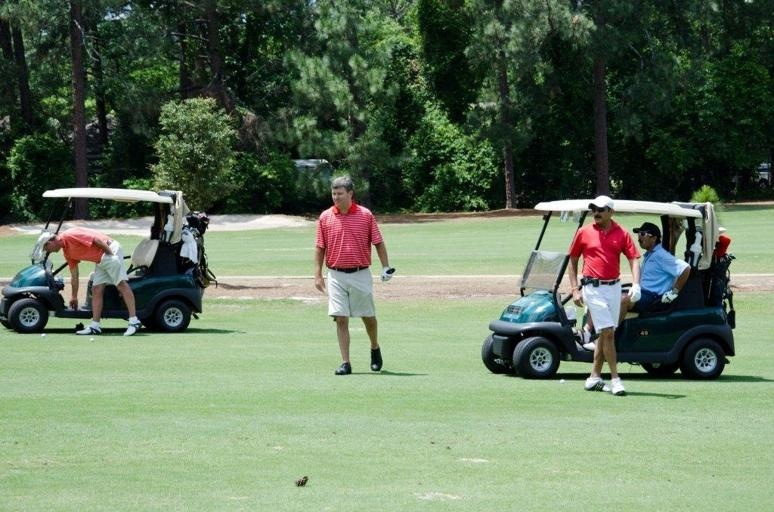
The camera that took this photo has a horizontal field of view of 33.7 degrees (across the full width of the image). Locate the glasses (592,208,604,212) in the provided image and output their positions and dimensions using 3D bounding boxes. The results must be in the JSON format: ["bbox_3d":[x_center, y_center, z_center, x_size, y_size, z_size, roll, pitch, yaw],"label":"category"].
[{"bbox_3d":[3.647,-0.790,21.864,0.242,0.079,0.079,1,4,29],"label":"glasses"}]

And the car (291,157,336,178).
[{"bbox_3d":[-3.619,-4.552,65.552,1.983,0.909,2.540,-1,4,-3],"label":"car"}]

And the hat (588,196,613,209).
[{"bbox_3d":[3.710,-0.912,22.028,0.409,0.207,0.466,0,4,11],"label":"hat"}]

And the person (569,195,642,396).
[{"bbox_3d":[3.734,0.685,21.906,1.180,3.360,0.528,0,3,8],"label":"person"}]

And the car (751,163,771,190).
[{"bbox_3d":[20.419,-4.312,69.711,1.596,1.495,1.204,3,9,11],"label":"car"}]

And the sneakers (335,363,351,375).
[{"bbox_3d":[-0.760,1.982,22.681,0.290,0.233,0.369,0,4,5],"label":"sneakers"}]

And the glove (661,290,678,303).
[{"bbox_3d":[4.999,0.717,22.574,0.278,0.170,0.109,-41,-28,10],"label":"glove"}]

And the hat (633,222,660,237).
[{"bbox_3d":[4.651,-0.464,22.804,0.412,0.188,0.265,5,-4,-10],"label":"hat"}]

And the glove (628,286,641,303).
[{"bbox_3d":[4.299,0.672,21.967,0.116,0.292,0.205,1,5,-37],"label":"glove"}]

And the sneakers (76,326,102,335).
[{"bbox_3d":[-5.926,1.489,25.545,0.512,0.206,0.185,4,0,0],"label":"sneakers"}]

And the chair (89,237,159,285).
[{"bbox_3d":[-5.322,0.146,25.861,1.209,0.926,0.773,2,2,-27],"label":"chair"}]

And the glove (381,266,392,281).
[{"bbox_3d":[-0.006,0.325,22.363,0.105,0.227,0.163,45,32,14],"label":"glove"}]
